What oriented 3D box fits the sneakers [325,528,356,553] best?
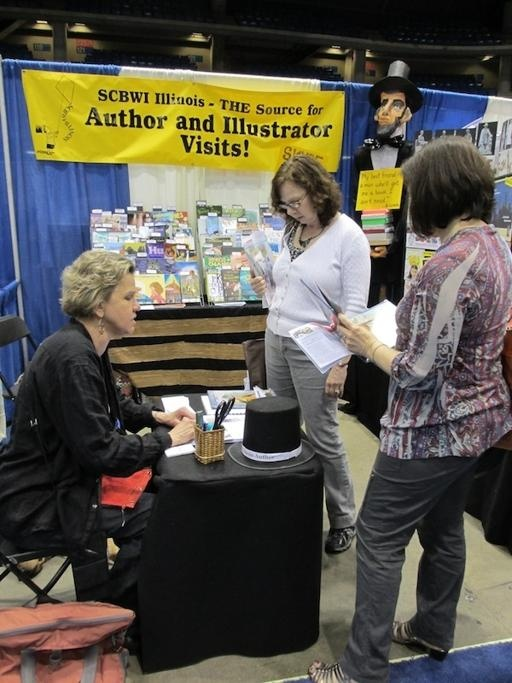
[{"bbox_3d":[0.360,0.843,2.292,0.066,0.079,0.172,-5,-7,24],"label":"sneakers"}]

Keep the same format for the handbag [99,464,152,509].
[{"bbox_3d":[-0.384,0.431,1.610,0.127,0.041,0.124,8,38,13],"label":"handbag"}]

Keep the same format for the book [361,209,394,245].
[{"bbox_3d":[0.907,-0.849,4.057,0.257,0.236,0.325,1,7,7],"label":"book"}]

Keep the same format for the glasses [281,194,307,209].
[{"bbox_3d":[0.134,-0.507,1.989,0.057,0.017,0.057,7,50,47],"label":"glasses"}]

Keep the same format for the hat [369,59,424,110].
[{"bbox_3d":[1.097,-2.007,4.274,0.411,0.369,0.382,4,20,14],"label":"hat"}]

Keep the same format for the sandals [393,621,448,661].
[{"bbox_3d":[0.508,0.951,1.717,0.072,0.047,0.181,-38,34,-23],"label":"sandals"}]

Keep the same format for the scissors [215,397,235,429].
[{"bbox_3d":[-0.090,0.198,1.576,0.038,0.032,0.125,27,52,-12],"label":"scissors"}]

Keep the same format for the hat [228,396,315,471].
[{"bbox_3d":[0.048,0.255,1.598,0.282,0.152,0.279,-7,12,-33],"label":"hat"}]

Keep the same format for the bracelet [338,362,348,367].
[{"bbox_3d":[0.309,0.081,1.928,0.027,0.013,0.035,-2,-13,4],"label":"bracelet"}]

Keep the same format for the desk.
[{"bbox_3d":[-0.077,0.598,1.817,0.606,0.611,0.712,1,15,7],"label":"desk"}]
